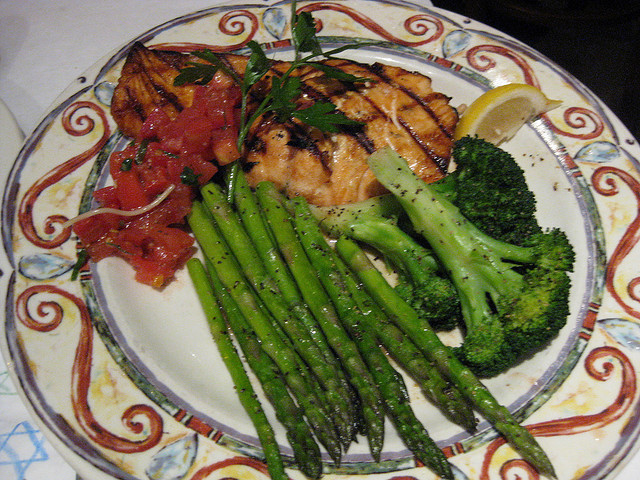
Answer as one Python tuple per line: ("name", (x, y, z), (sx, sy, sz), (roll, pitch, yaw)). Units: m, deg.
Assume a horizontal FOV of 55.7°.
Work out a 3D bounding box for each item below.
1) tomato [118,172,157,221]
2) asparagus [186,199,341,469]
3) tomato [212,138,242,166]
("tomato", (-1.489, -0.386, 4.756), (0.244, 0.207, 0.311), (-17, 50, -3))
("asparagus", (-0.411, 0.754, 4.458), (0.261, 0.311, 2.829), (-42, 63, -10))
("tomato", (-0.758, -0.722, 4.915), (0.199, 0.178, 0.176), (-16, 53, -3))
